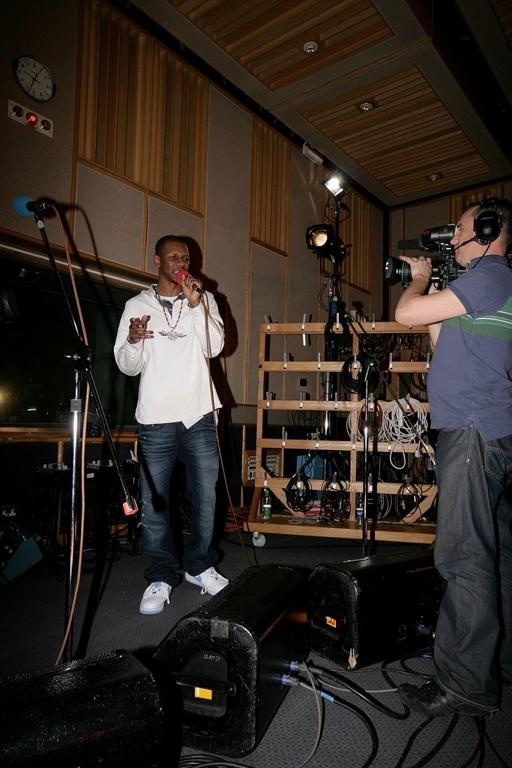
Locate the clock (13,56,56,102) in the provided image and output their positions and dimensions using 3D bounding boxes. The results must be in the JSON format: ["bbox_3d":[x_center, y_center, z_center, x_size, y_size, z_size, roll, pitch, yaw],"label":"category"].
[{"bbox_3d":[-1.328,-1.829,3.444,0.024,0.247,0.283,0,-1,32],"label":"clock"}]

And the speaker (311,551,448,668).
[{"bbox_3d":[0.401,0.751,1.878,0.467,0.296,0.232,4,-10,-37],"label":"speaker"}]

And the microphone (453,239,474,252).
[{"bbox_3d":[0.647,-0.432,1.782,0.054,0.015,0.042,-17,13,-20],"label":"microphone"}]

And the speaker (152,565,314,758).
[{"bbox_3d":[-0.080,0.760,1.603,0.296,0.366,0.568,0,-1,16],"label":"speaker"}]

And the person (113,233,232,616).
[{"bbox_3d":[-0.349,0.137,2.545,0.414,1.617,0.416,0,-2,43],"label":"person"}]

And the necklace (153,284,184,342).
[{"bbox_3d":[-0.381,-0.298,2.568,0.120,0.215,0.209,2,0,-7],"label":"necklace"}]

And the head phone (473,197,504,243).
[{"bbox_3d":[0.691,-0.483,1.703,0.052,0.130,0.140,0,-4,21],"label":"head phone"}]

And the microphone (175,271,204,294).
[{"bbox_3d":[-0.260,-0.401,2.212,0.095,0.098,0.071,1,-1,7],"label":"microphone"}]

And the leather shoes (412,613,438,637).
[{"bbox_3d":[0.592,0.854,2.027,0.074,0.067,0.117,16,-7,11],"label":"leather shoes"}]
